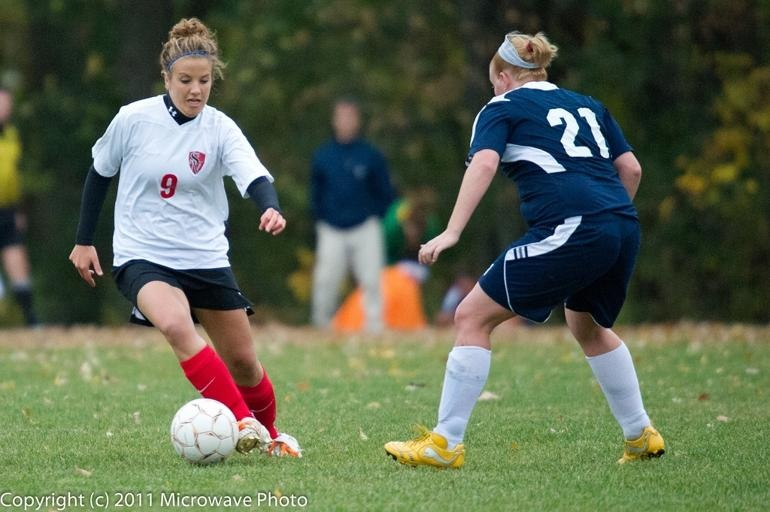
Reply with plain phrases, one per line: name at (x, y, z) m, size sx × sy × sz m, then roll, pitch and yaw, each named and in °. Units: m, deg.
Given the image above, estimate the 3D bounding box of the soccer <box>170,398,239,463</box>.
soccer at (-1.495, 1.437, 9.103) m, size 0.502 × 0.545 × 0.537 m, roll 12°, pitch -6°, yaw 44°
